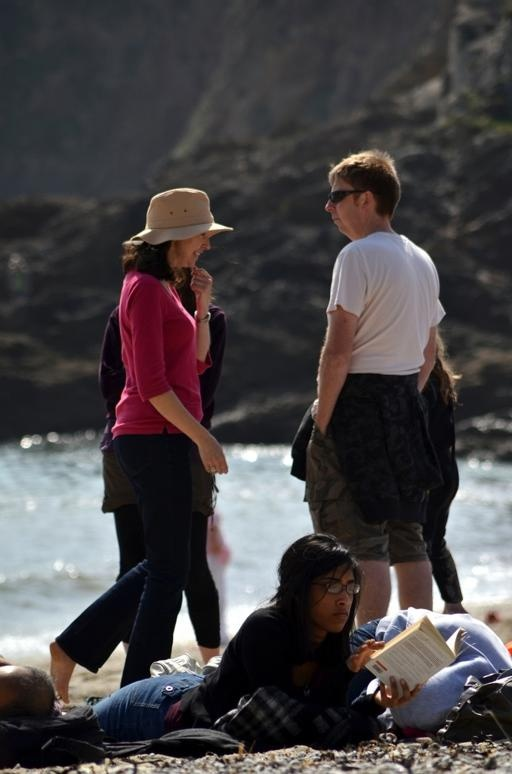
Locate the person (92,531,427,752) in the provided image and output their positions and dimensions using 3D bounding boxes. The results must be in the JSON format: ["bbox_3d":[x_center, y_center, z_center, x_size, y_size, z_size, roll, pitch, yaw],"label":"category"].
[{"bbox_3d":[-0.123,0.720,2.626,1.240,0.488,0.373,-20,-33,29],"label":"person"}]

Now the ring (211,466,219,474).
[{"bbox_3d":[-0.122,0.246,2.972,0.031,0.017,0.016,23,-55,-37],"label":"ring"}]

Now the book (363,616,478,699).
[{"bbox_3d":[0.397,0.656,2.528,0.184,0.082,0.226,39,-63,-18],"label":"book"}]

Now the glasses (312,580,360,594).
[{"bbox_3d":[0.217,0.526,2.642,0.072,0.019,0.070,7,-6,-34],"label":"glasses"}]

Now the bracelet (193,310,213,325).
[{"bbox_3d":[-0.182,-0.239,3.558,0.055,0.021,0.052,-6,-39,-6],"label":"bracelet"}]

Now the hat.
[{"bbox_3d":[-0.236,-0.539,3.199,0.251,0.112,0.243,-13,1,-39],"label":"hat"}]
